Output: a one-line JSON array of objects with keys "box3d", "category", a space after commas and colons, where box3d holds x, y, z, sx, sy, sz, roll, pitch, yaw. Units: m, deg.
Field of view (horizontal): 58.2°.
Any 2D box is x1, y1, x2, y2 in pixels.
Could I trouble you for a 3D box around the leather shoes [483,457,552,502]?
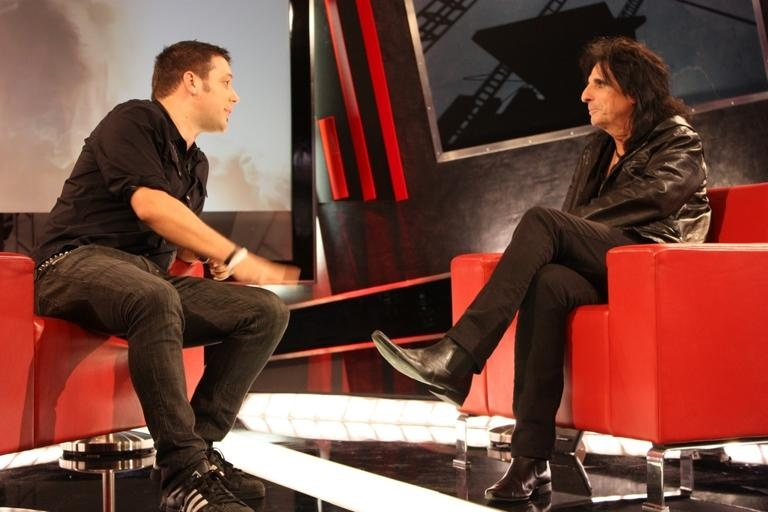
[{"box3d": [0.492, 0.808, 2.517, 0.271, 0.172, 0.116, 5, -11, -25], "category": "leather shoes"}]
